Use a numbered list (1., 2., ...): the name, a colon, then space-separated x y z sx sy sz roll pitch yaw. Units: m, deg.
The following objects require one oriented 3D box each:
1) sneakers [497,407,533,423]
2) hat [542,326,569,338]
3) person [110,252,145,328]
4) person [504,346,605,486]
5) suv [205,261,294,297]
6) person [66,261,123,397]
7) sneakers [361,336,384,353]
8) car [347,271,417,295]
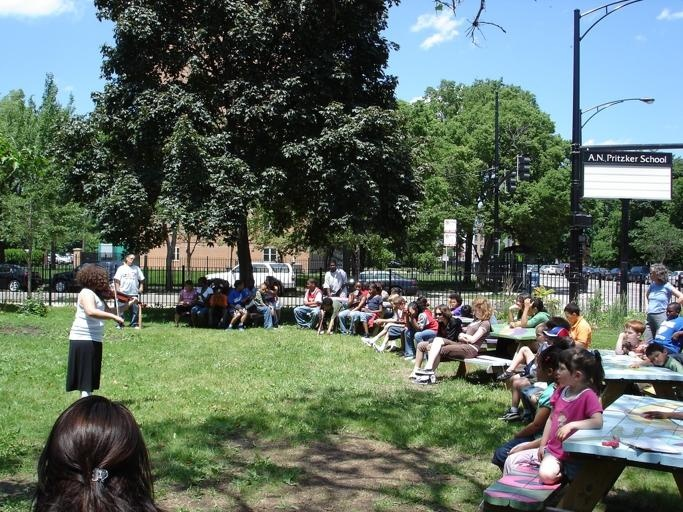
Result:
1. sneakers: 2.538 2.297 10.621 0.490 0.247 0.192 -1 -4 12
2. hat: 3.138 1.114 10.684 0.242 0.097 0.162 2 5 26
3. person: -5.708 0.970 19.919 0.749 2.157 0.573 -2 20 -22
4. person: 2.330 1.751 7.872 1.031 1.516 0.815 2 0 -7
5. suv: -3.779 0.784 33.216 3.050 1.351 1.883 2 -1 -1
6. person: -3.447 1.035 10.088 0.637 1.851 0.740 -1 4 -21
7. sneakers: 0.788 1.995 16.806 0.216 0.294 0.648 33 -6 -41
8. car: 1.736 0.878 27.154 2.018 0.816 0.972 5 -2 -1
